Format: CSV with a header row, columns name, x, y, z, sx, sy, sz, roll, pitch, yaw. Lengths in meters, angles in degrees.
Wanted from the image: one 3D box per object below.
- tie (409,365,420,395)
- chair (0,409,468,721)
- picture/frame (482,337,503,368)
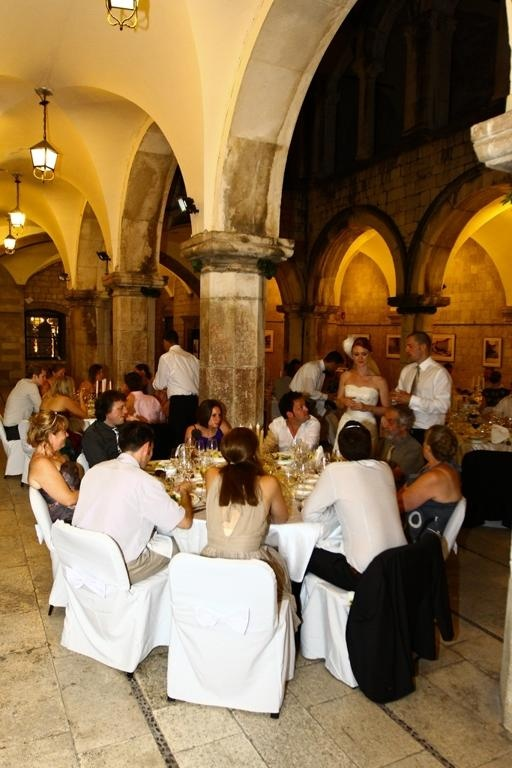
name,x,y,z,sx,sy,sz,roll,pitch,yaw
tie,1.209,-0.028,4.178,0.059,0.217,0.087,1,1,-5
chair,-0.284,0.693,2.236,1.119,0.789,0.932,7,4,11
picture/frame,4.417,-0.571,10.195,0.066,0.731,0.501,0,5,-22
